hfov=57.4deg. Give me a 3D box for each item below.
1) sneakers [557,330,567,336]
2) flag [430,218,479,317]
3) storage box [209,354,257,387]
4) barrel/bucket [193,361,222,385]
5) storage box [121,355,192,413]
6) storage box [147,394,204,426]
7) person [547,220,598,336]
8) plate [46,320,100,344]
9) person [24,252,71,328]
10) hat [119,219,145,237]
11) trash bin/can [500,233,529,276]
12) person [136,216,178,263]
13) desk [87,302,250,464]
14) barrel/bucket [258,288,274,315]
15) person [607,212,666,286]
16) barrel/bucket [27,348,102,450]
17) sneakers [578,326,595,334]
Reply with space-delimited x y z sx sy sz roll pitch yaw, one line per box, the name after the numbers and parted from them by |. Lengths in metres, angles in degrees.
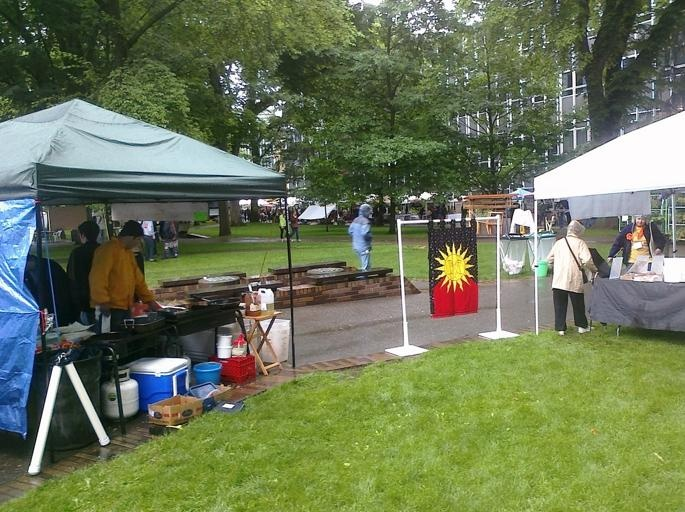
3.945 1.381 11.255 0.056 0.072 0.115 -3 -3 -33 | sneakers
1.951 0.207 10.937 1.050 1.662 0.203 -8 6 -24 | flag
-1.606 1.695 9.490 0.485 0.285 0.484 1 3 28 | storage box
-1.979 1.710 9.195 0.338 0.228 0.351 -1 -7 0 | barrel/bucket
-2.538 1.662 8.617 0.952 0.600 0.673 0 -2 13 | storage box
-2.129 2.005 8.198 0.435 0.179 0.437 3 5 34 | storage box
4.182 0.384 11.455 0.813 2.031 0.925 -4 6 18 | person
-3.756 1.073 8.681 0.577 0.129 1.098 -7 6 -21 | plate
-4.206 0.538 9.073 0.489 1.144 1.367 -8 6 -20 | person
-3.064 -0.409 9.189 0.251 0.289 0.319 16 18 40 | hat
5.201 -0.054 18.976 0.806 1.154 1.164 -4 6 15 | trash bin/can
-5.950 -0.500 20.314 1.153 0.979 1.355 -6 12 10 | person
-2.265 1.418 9.292 2.065 0.937 0.786 -16 -1 12 | desk
-1.202 0.715 9.874 0.220 0.342 0.343 -7 6 -11 | barrel/bucket
6.238 -0.055 13.410 1.033 1.989 0.583 -5 29 13 | person
-3.289 1.793 7.969 1.122 1.104 1.087 -1 -4 0 | barrel/bucket
4.445 1.356 11.464 0.265 0.106 0.099 -5 8 -12 | sneakers
